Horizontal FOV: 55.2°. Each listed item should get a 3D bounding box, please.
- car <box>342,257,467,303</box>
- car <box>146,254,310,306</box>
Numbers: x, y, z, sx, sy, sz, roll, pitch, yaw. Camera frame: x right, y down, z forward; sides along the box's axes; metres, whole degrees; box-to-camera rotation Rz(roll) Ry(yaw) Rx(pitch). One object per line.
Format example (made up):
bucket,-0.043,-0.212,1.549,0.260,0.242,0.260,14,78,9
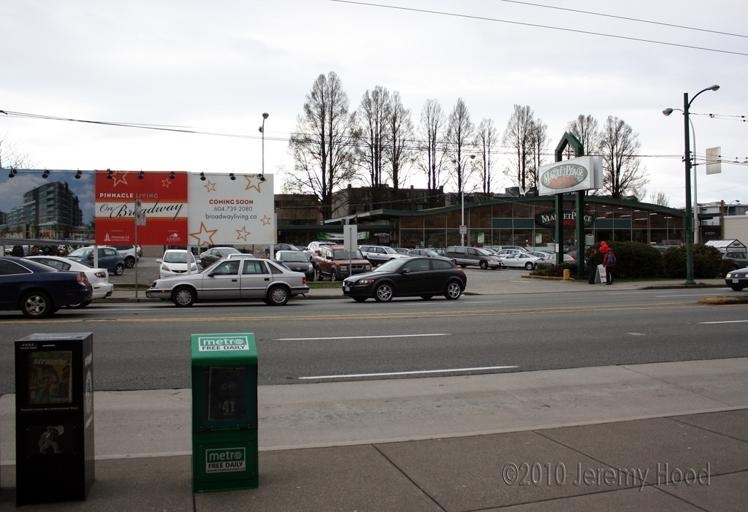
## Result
car,1.213,0.830,25.418,4.251,1.605,0.729,-3,2,-22
car,-4.630,0.872,23.420,4.621,1.564,0.603,-3,2,-11
